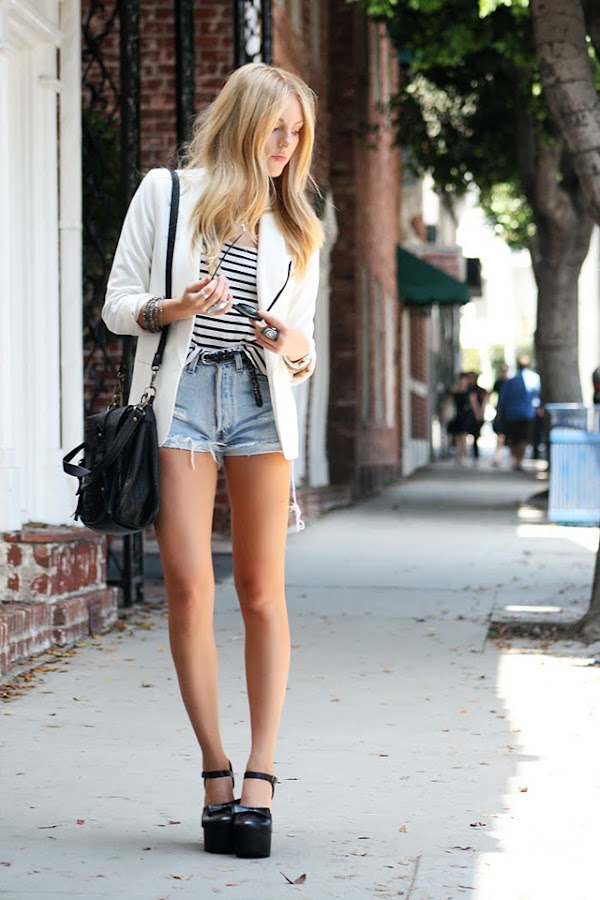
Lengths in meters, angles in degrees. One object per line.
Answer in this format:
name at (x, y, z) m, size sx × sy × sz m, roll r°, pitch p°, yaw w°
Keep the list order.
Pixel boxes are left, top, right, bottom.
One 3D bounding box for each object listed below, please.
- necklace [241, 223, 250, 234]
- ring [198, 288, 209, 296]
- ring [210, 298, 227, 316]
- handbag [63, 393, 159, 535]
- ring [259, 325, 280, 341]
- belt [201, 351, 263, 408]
necklace at (-0.125, -0.523, 2.792) m, size 0.015 × 0.019 × 0.019 m, roll -2°, pitch -8°, yaw -7°
ring at (-0.207, -0.343, 2.577) m, size 0.019 × 0.019 × 0.007 m, roll 0°, pitch 1°, yaw -36°
ring at (-0.182, -0.316, 2.622) m, size 0.038 × 0.029 × 0.046 m, roll -1°, pitch 2°, yaw -43°
handbag at (-0.413, 0.044, 2.682) m, size 0.273 × 0.318 × 0.215 m, roll -4°, pitch 13°, yaw -12°
ring at (-0.064, -0.265, 2.697) m, size 0.040 × 0.035 × 0.022 m, roll 0°, pitch 1°, yaw -2°
belt at (-0.163, -0.166, 2.810) m, size 0.109 × 0.141 × 0.109 m, roll 1°, pitch 10°, yaw -23°
